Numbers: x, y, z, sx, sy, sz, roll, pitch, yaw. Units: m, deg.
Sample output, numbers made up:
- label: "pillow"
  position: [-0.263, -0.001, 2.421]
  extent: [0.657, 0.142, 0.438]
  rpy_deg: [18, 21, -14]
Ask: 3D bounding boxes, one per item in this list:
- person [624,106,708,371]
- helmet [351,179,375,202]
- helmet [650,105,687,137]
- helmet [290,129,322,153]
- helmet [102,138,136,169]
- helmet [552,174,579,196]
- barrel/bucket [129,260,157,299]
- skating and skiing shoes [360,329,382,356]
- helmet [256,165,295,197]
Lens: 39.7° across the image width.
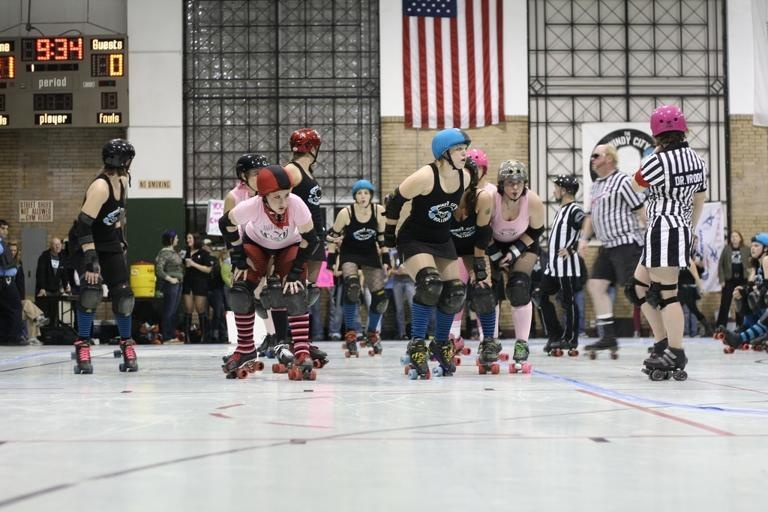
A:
- label: "person"
  position: [3.737, -0.264, 14.268]
  extent: [1.031, 3.560, 0.940]
  rpy_deg: [1, 0, 1]
- label: "helmet"
  position: [-0.361, -1.082, 17.202]
  extent: [0.270, 0.273, 0.429]
  rpy_deg: [2, 12, 10]
- label: "helmet"
  position: [3.756, -1.789, 14.072]
  extent: [0.332, 0.376, 0.473]
  rpy_deg: [-3, 13, 15]
- label: "helmet"
  position: [-1.102, -1.592, 14.781]
  extent: [0.386, 0.380, 0.297]
  rpy_deg: [-14, 30, -28]
- label: "helmet"
  position: [-3.628, -1.402, 14.499]
  extent: [0.433, 0.438, 0.345]
  rpy_deg: [0, 17, -18]
- label: "helmet"
  position: [2.883, -1.110, 16.777]
  extent: [0.322, 0.307, 0.307]
  rpy_deg: [5, 13, 24]
- label: "barrel/bucket"
  position: [-4.961, 0.503, 21.836]
  extent: [0.502, 0.717, 0.626]
  rpy_deg: [-3, 12, -13]
- label: "skating and skiing shoes"
  position: [-0.212, 1.434, 17.238]
  extent: [0.238, 0.290, 0.474]
  rpy_deg: [1, -3, -17]
- label: "helmet"
  position: [-1.415, -0.955, 13.655]
  extent: [0.374, 0.331, 0.354]
  rpy_deg: [1, 14, 3]
